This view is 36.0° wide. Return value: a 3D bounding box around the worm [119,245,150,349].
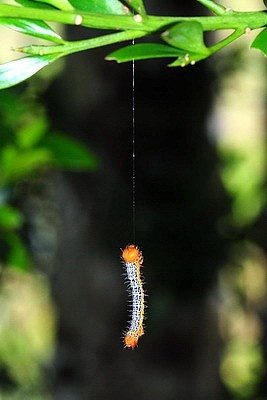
[{"bbox_3d":[-0.016,0.243,1.081,0.081,0.088,0.267,-3,85,20],"label":"worm"}]
